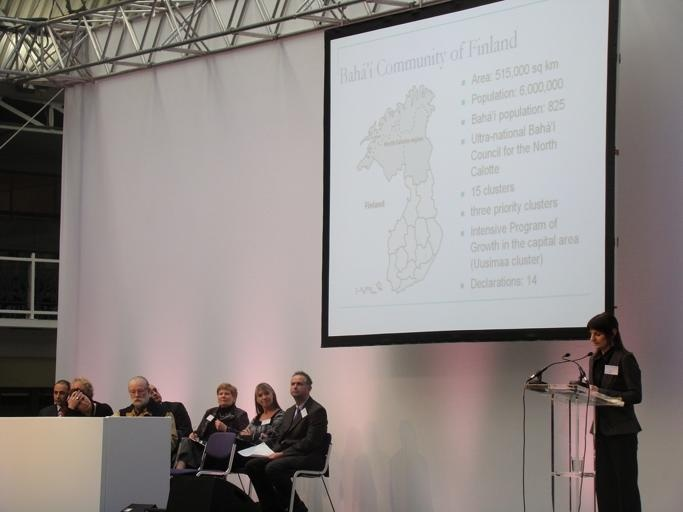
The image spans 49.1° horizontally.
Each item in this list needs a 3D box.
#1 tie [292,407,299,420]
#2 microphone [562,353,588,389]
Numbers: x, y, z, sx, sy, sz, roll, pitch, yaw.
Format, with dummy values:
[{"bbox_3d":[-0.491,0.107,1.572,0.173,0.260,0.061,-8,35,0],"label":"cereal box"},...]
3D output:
[{"bbox_3d":[-0.455,1.536,7.337,0.037,0.133,0.028,30,-49,-23],"label":"tie"},{"bbox_3d":[1.630,0.800,5.138,0.151,0.255,0.188,-13,8,-27],"label":"microphone"}]
